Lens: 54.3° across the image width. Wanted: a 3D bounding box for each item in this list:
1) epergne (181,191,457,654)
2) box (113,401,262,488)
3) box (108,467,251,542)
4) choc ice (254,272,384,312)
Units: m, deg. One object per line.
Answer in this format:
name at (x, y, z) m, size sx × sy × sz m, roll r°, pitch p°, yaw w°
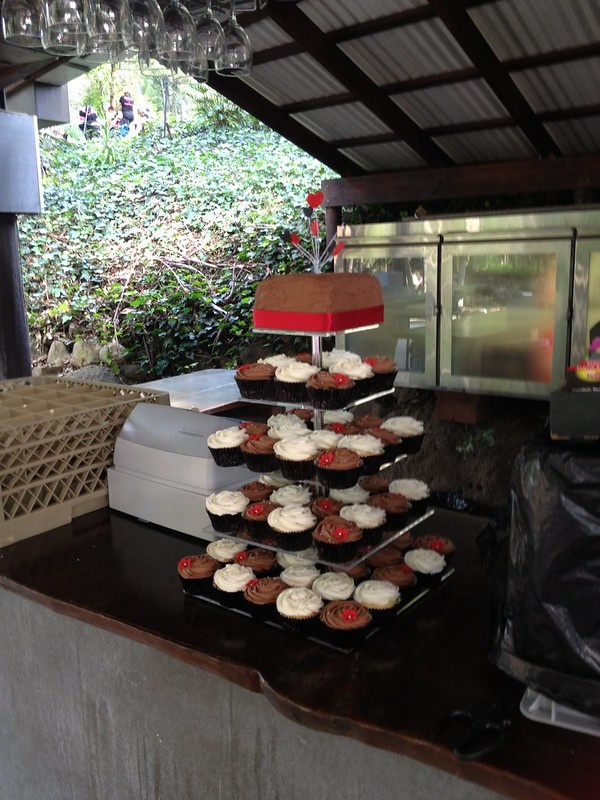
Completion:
epergne at (0.036, -0.001, 1.347) m, size 0.577 × 0.829 × 0.612 m, roll 4°, pitch 14°, yaw 18°
box at (-0.358, 0.119, 1.773) m, size 0.370 × 0.174 × 0.211 m, roll 11°, pitch 19°, yaw 32°
box at (-0.355, 0.329, 1.785) m, size 0.297 × 0.127 × 0.400 m, roll 18°, pitch 23°, yaw 20°
choc ice at (0.043, -0.236, 1.292) m, size 0.157 × 0.061 × 0.160 m, roll 5°, pitch 13°, yaw 23°
